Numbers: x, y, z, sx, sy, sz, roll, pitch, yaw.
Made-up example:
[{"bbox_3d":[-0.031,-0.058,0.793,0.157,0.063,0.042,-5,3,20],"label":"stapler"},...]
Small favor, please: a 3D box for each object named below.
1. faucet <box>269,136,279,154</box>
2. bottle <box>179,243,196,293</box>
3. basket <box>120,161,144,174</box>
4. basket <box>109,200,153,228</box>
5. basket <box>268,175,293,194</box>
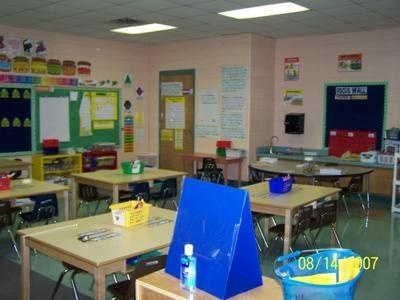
[{"bbox_3d":[2.071,-0.178,9.124,0.139,0.401,0.343,6,10,44],"label":"faucet"},{"bbox_3d":[-0.064,0.595,1.702,0.085,0.247,0.176,-1,7,-5],"label":"bottle"},{"bbox_3d":[-1.288,0.335,6.139,0.243,0.156,0.325,1,0,41],"label":"basket"},{"bbox_3d":[-0.735,0.646,3.321,0.356,0.170,0.267,-2,4,-40],"label":"basket"},{"bbox_3d":[1.231,0.527,4.826,0.207,0.160,0.331,0,-1,30],"label":"basket"}]
